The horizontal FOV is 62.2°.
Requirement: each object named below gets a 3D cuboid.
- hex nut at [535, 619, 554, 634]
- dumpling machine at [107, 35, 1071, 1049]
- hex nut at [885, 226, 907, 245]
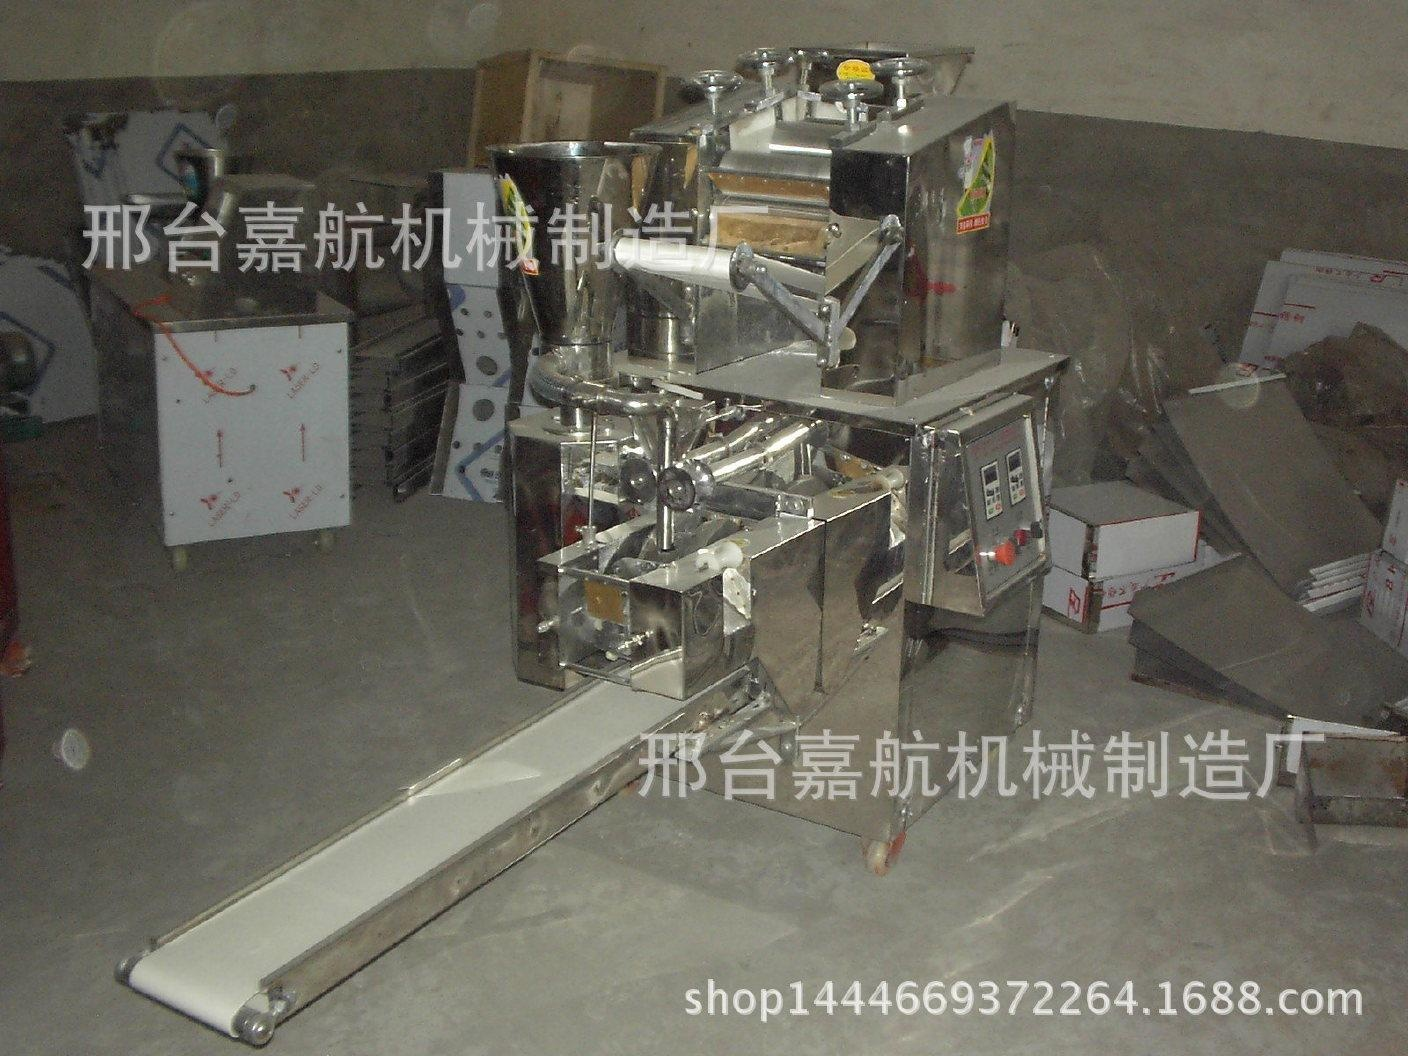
[{"bbox_3d":[-0.345,0.210,2.516,0.026,0.017,0.042,19,-29,-32],"label":"hex nut"},{"bbox_3d":[0.062,0.079,2.767,1.066,2.019,2.475,15,33,30],"label":"dumpling machine"},{"bbox_3d":[0.452,-0.696,2.764,0.043,0.042,0.040,7,15,24],"label":"hex nut"}]
